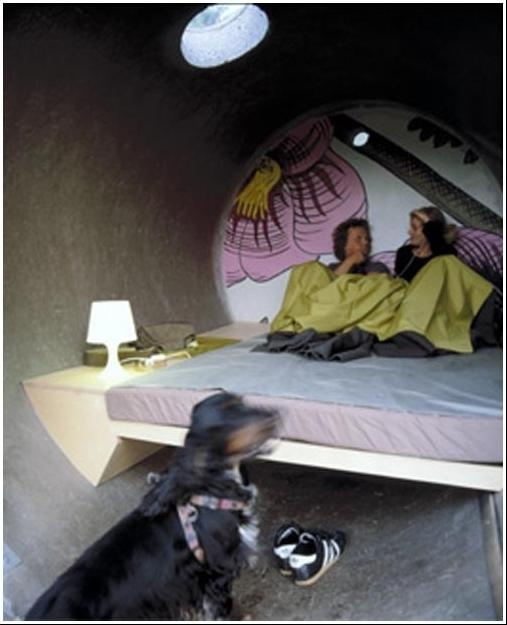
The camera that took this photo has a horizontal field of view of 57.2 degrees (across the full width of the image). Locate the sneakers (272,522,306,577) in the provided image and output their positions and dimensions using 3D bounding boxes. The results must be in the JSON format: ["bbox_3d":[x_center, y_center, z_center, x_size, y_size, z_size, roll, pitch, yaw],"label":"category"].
[{"bbox_3d":[0.121,0.793,1.614,0.099,0.078,0.269,-6,6,12],"label":"sneakers"}]

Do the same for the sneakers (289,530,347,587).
[{"bbox_3d":[0.226,0.814,1.602,0.106,0.125,0.289,-28,-13,37],"label":"sneakers"}]

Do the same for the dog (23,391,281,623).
[{"bbox_3d":[-0.256,0.637,1.460,0.454,0.565,0.757,2,10,25],"label":"dog"}]

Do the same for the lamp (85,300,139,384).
[{"bbox_3d":[-0.644,0.124,2.113,0.214,0.354,0.209,-5,12,-33],"label":"lamp"}]
